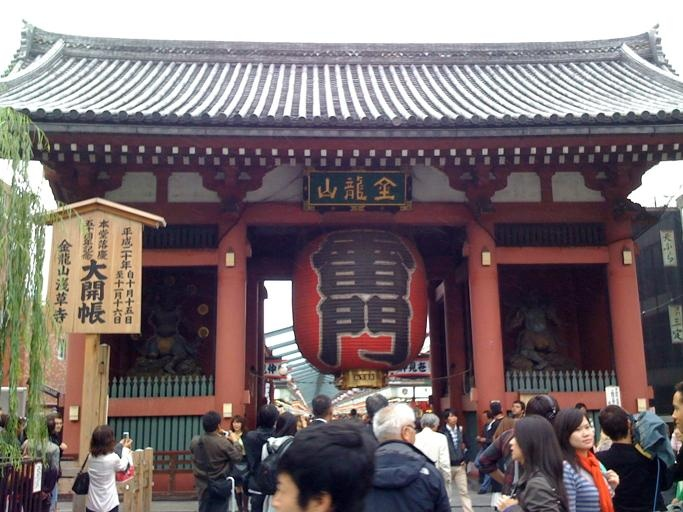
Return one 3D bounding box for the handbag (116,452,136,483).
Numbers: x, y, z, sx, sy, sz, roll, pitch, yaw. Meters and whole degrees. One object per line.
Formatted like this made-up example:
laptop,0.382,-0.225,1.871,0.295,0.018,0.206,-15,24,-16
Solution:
handbag,-2.474,2.423,7.819,0.184,0.322,0.155,-3,-14,5
